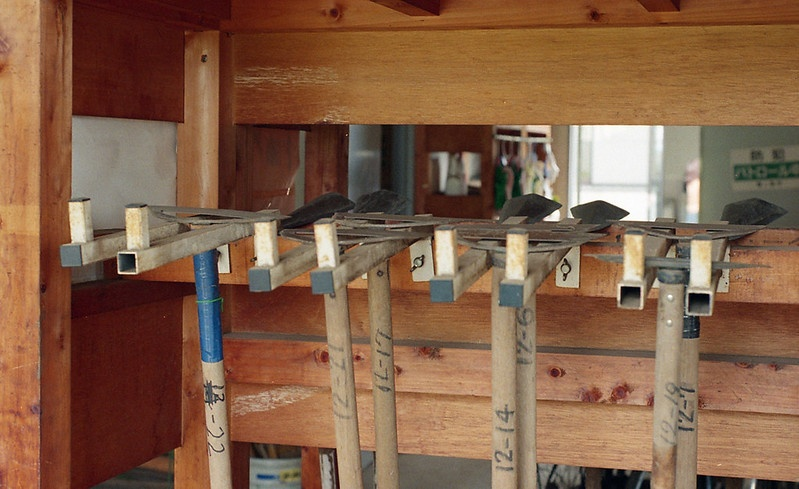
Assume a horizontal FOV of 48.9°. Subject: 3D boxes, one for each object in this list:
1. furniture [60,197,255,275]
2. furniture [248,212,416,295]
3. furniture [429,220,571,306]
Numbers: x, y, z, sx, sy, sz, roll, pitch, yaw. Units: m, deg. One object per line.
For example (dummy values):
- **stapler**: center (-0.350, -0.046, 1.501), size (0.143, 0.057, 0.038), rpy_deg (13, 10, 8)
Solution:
- **furniture**: center (-0.747, -0.029, 2.877), size (0.363, 0.238, 0.608), rpy_deg (4, 5, 29)
- **furniture**: center (-0.198, 0.034, 2.708), size (0.347, 0.118, 0.326), rpy_deg (4, 11, 26)
- **furniture**: center (0.382, 0.067, 2.734), size (0.452, 0.257, 0.641), rpy_deg (3, 5, 12)
